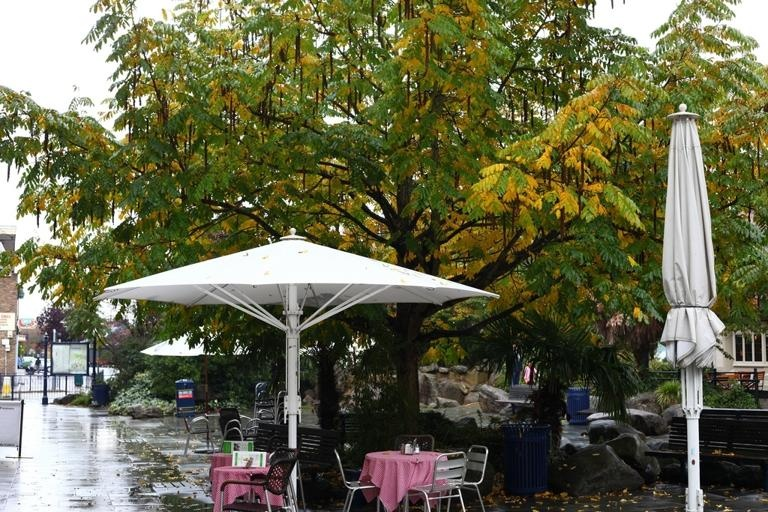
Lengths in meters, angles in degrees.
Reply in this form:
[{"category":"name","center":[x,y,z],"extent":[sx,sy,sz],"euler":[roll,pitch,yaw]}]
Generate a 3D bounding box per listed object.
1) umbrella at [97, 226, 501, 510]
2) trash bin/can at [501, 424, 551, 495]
[{"category":"umbrella","center":[-1.508,1.637,16.989],"extent":[5.204,4.147,3.245],"euler":[0,-13,-3]},{"category":"trash bin/can","center":[2.781,3.959,20.320],"extent":[1.175,1.514,1.178],"euler":[0,-9,0]}]
